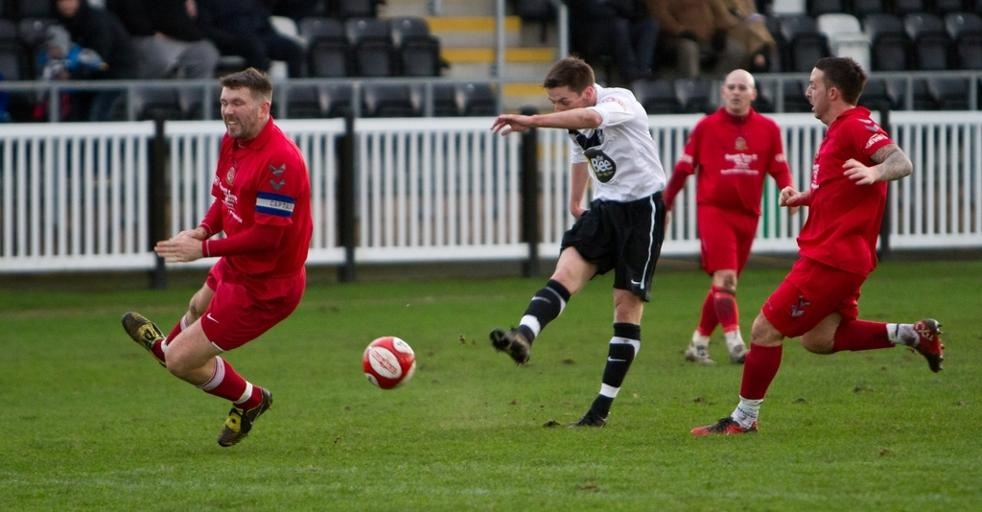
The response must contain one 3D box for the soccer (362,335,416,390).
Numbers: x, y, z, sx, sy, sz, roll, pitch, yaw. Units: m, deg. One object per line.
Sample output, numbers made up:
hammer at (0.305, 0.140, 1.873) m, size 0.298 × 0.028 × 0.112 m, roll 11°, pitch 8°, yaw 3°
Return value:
soccer at (-1.357, 1.335, 23.327) m, size 0.781 × 0.637 × 0.688 m, roll 3°, pitch 20°, yaw -8°
